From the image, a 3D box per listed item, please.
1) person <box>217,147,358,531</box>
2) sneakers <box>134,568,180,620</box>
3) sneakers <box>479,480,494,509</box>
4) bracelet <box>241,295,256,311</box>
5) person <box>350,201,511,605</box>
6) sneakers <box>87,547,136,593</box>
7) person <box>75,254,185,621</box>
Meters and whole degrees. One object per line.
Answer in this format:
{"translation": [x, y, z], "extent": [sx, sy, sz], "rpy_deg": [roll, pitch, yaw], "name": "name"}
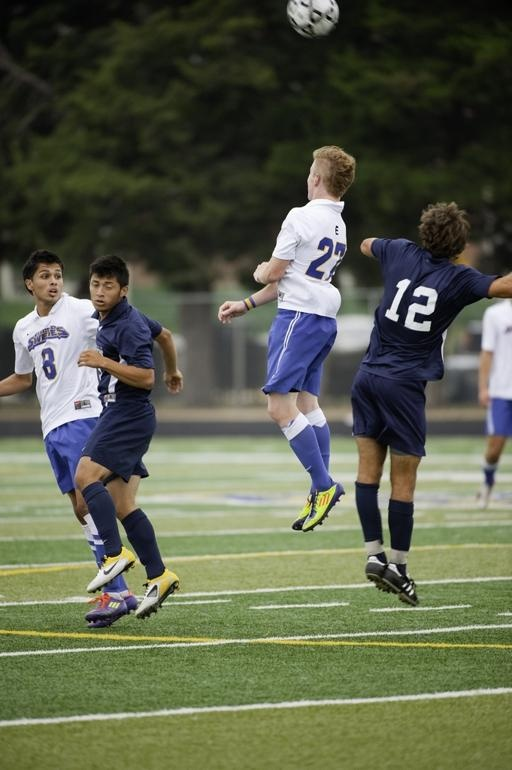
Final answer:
{"translation": [0.313, -0.298, 6.095], "extent": [0.655, 2.328, 0.553], "rpy_deg": [-4, 9, -24], "name": "person"}
{"translation": [-0.515, 1.078, 5.044], "extent": [0.178, 0.236, 0.312], "rpy_deg": [4, 8, 29], "name": "sneakers"}
{"translation": [2.442, 1.180, 10.463], "extent": [0.099, 0.317, 0.257], "rpy_deg": [10, -5, 22], "name": "sneakers"}
{"translation": [-0.035, -0.507, 6.128], "extent": [0.079, 0.074, 0.100], "rpy_deg": [-44, 14, 2], "name": "bracelet"}
{"translation": [0.899, 0.115, 5.348], "extent": [0.822, 2.193, 0.588], "rpy_deg": [3, 9, 18], "name": "person"}
{"translation": [-0.762, 0.958, 5.121], "extent": [0.229, 0.217, 0.264], "rpy_deg": [-2, 8, -14], "name": "sneakers"}
{"translation": [-0.704, 0.275, 5.271], "extent": [0.525, 1.918, 0.993], "rpy_deg": [-1, 8, -7], "name": "person"}
